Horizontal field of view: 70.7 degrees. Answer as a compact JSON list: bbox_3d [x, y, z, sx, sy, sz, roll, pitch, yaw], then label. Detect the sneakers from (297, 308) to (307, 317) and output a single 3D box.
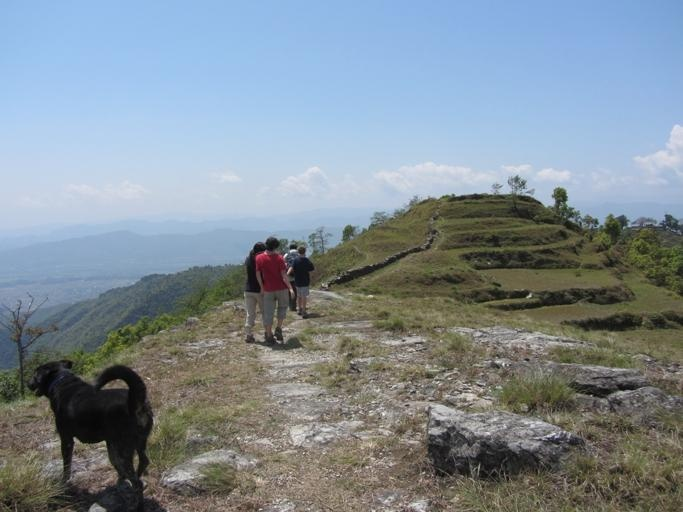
[{"bbox_3d":[-1.730,2.438,21.075,0.204,0.221,0.568,2,-8,-26],"label":"sneakers"}]
